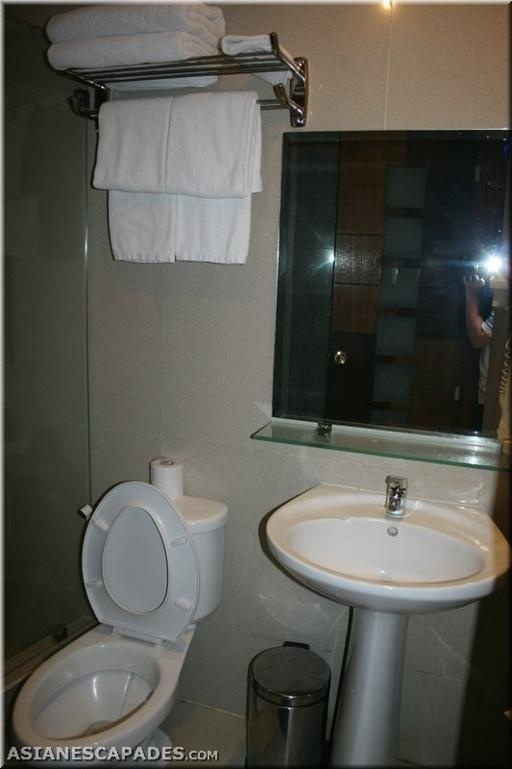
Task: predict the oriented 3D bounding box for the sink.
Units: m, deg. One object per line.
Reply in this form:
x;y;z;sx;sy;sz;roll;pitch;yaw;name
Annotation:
0.265;0.358;1.304;0.490;0.166;0.446;7;7;14;sink

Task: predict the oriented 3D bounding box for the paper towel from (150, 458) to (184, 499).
-0.239;0.253;1.695;0.082;0.120;0.094;2;15;1;paper towel

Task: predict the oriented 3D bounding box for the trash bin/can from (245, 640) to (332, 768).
0.075;0.781;1.499;0.198;0.264;0.323;-2;-31;2;trash bin/can

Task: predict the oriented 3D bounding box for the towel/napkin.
-0.193;-0.569;1.695;0.470;0.684;0.629;2;6;23;towel/napkin

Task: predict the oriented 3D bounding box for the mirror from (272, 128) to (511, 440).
0.335;-0.251;1.427;0.566;0.868;0.057;3;9;17;mirror
